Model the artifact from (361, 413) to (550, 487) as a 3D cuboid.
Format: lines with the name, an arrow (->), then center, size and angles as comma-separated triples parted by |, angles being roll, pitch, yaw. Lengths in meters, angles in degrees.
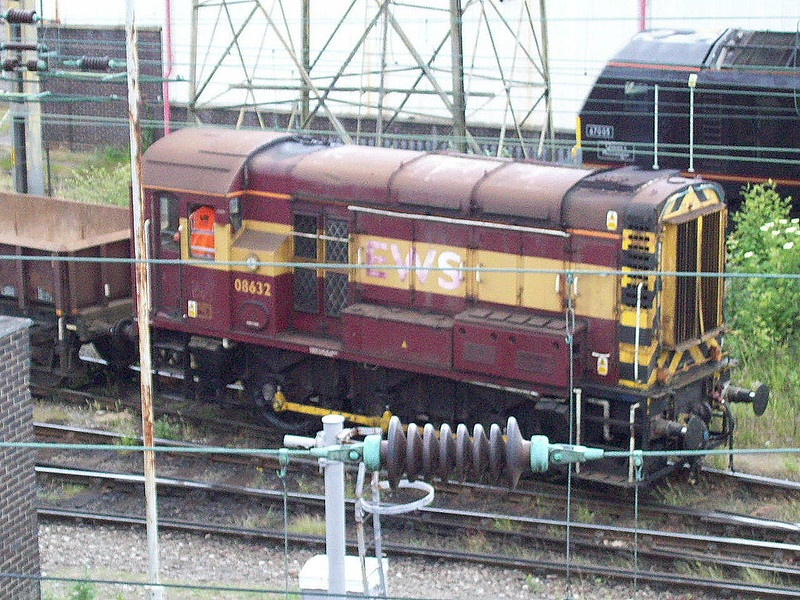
artifact -> 0.724, 2.010, 22.260 | 2.403, 1.244, 0.998 | -1, -3, 7

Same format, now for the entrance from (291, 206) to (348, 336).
entrance -> -1.295, -0.497, 29.078 | 1.035, 2.275, 0.096 | 7, -33, -12

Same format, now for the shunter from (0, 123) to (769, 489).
shunter -> 0.585, 0.029, 28.182 | 9.368, 5.111, 1.761 | 5, 6, 18
